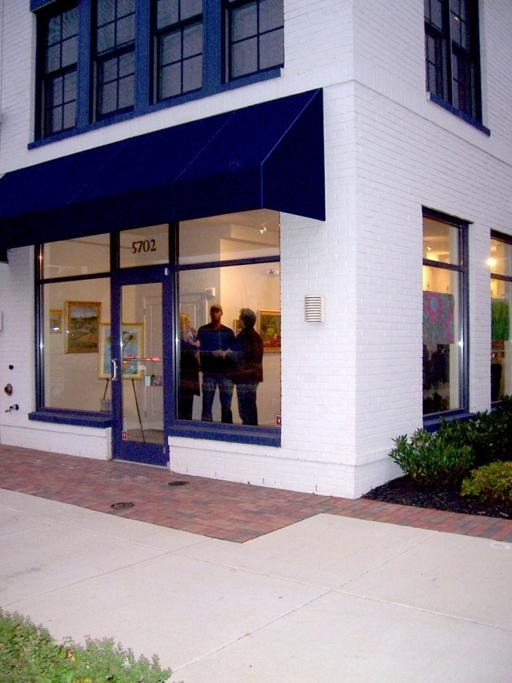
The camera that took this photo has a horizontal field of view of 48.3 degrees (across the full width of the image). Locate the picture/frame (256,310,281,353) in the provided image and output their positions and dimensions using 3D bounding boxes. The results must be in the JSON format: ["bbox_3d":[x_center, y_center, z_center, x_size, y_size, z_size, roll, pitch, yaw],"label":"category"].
[{"bbox_3d":[0.160,-0.126,6.778,0.026,0.590,0.485,-1,0,-38],"label":"picture/frame"}]

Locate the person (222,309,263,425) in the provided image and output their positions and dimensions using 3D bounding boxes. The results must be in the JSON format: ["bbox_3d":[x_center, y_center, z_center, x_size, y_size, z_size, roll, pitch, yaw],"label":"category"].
[{"bbox_3d":[-0.130,0.317,7.028,0.148,1.401,0.594,3,-5,-39],"label":"person"}]

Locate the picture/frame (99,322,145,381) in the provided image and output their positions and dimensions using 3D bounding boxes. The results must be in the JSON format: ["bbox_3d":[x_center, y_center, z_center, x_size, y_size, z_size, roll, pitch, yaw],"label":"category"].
[{"bbox_3d":[-1.948,0.150,8.451,0.825,0.869,0.037,3,0,38],"label":"picture/frame"}]

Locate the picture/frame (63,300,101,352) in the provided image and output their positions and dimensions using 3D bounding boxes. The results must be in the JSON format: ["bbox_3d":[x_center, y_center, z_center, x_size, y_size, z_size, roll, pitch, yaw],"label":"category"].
[{"bbox_3d":[-2.713,-0.237,9.002,0.775,1.014,0.074,1,2,35],"label":"picture/frame"}]
